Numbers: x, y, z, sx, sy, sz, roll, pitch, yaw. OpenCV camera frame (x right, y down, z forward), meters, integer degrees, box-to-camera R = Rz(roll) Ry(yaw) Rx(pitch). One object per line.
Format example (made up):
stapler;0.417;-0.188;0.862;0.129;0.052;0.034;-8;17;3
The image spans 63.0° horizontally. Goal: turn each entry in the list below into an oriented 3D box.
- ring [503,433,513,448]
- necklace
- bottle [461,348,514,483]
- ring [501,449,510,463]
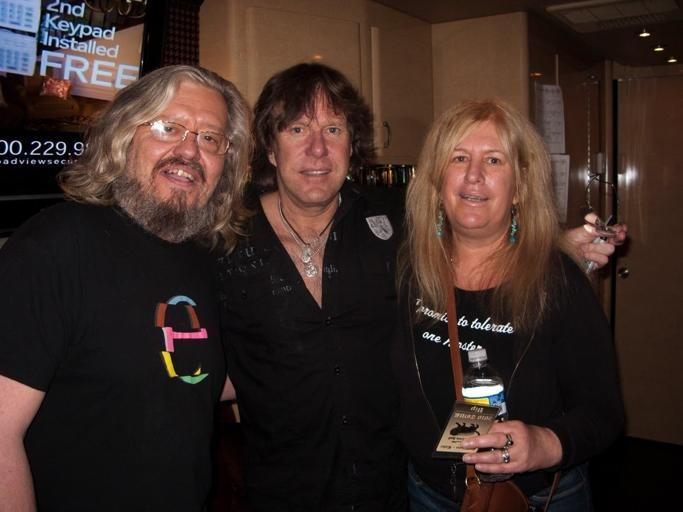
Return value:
ring;0.490;0.544;1.629;0.036;0.031;0.018;-31;9;-39
necklace;-0.156;-0.055;2.258;0.200;0.357;0.088;-1;-23;-3
bottle;0.455;0.501;1.744;0.161;0.412;0.264;3;6;13
ring;0.482;0.588;1.630;0.037;0.035;0.014;0;-1;27
